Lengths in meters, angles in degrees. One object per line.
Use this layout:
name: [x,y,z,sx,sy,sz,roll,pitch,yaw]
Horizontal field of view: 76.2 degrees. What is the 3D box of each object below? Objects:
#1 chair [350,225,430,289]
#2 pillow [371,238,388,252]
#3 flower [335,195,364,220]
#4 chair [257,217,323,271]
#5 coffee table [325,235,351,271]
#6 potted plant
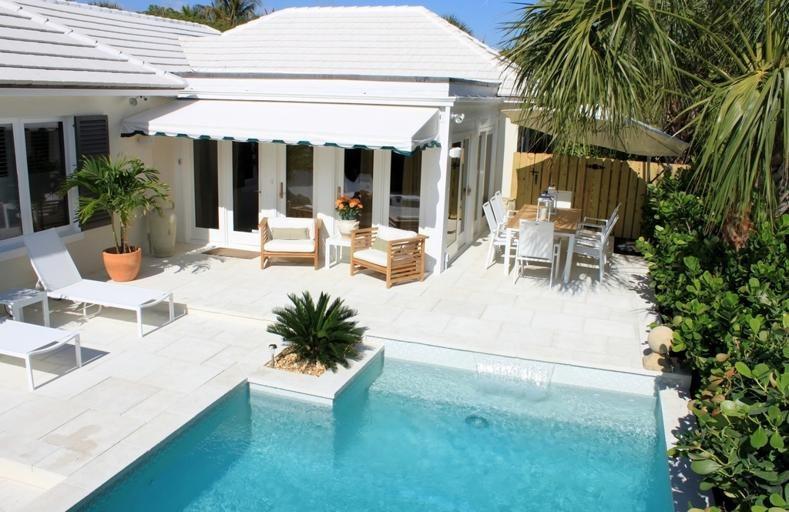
chair: [-0.238,-0.003,15.958,2.059,1.623,1.462,11,18,35]
pillow: [-0.443,-0.315,15.919,0.602,0.379,0.168,22,4,41]
flower: [-1.488,-1.610,16.667,0.830,0.635,0.859,1,22,0]
chair: [-3.449,-0.425,16.791,1.998,1.651,1.527,-1,15,-7]
coffee table: [-1.958,-0.160,17.001,1.007,1.105,1.026,2,14,3]
potted plant: [-8.376,-1.189,15.209,2.925,3.754,3.176,-6,-5,1]
